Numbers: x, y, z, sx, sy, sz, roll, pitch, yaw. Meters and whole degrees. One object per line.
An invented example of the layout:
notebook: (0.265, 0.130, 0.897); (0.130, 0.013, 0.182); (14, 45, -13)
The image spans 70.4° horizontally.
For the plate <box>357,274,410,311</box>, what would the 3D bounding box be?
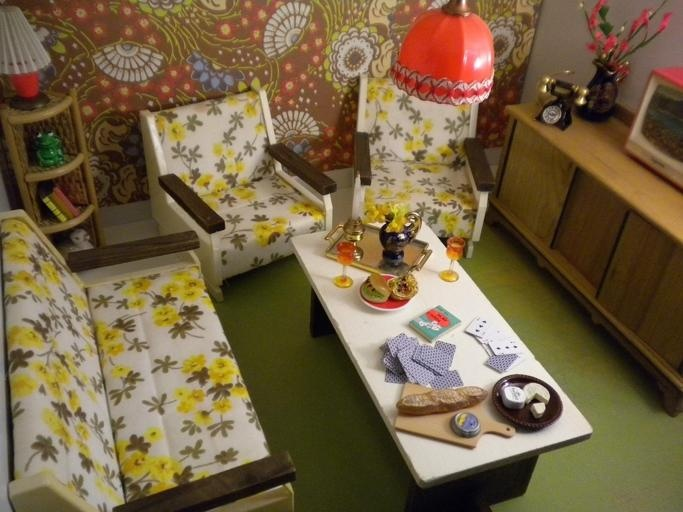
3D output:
plate: (0.219, 0.181, 2.537); (0.258, 0.127, 0.249); (-2, 32, -2)

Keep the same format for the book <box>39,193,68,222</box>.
book: (-1.744, -0.290, 2.949); (0.037, 0.160, 0.153); (-36, 34, -15)

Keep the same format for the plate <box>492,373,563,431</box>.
plate: (0.815, 0.652, 2.128); (0.286, 0.076, 0.295); (-14, 31, -20)

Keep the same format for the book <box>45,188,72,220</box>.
book: (-1.726, -0.318, 2.964); (0.035, 0.159, 0.150); (-18, -5, -4)

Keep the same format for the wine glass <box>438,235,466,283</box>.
wine glass: (0.627, 0.011, 2.719); (0.113, 0.232, 0.120); (8, 31, 4)

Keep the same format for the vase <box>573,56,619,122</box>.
vase: (1.772, -1.139, 3.373); (0.156, 0.440, 0.255); (-12, 37, -19)

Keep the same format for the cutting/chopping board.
cutting/chopping board: (0.482, 0.697, 2.073); (0.507, 0.075, 0.224); (4, 37, 1)

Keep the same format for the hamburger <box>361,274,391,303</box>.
hamburger: (0.179, 0.178, 2.547); (0.137, 0.089, 0.144); (-4, 47, -6)

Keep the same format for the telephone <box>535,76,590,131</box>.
telephone: (1.502, -1.069, 3.367); (0.309, 0.286, 0.170); (29, 42, 27)
